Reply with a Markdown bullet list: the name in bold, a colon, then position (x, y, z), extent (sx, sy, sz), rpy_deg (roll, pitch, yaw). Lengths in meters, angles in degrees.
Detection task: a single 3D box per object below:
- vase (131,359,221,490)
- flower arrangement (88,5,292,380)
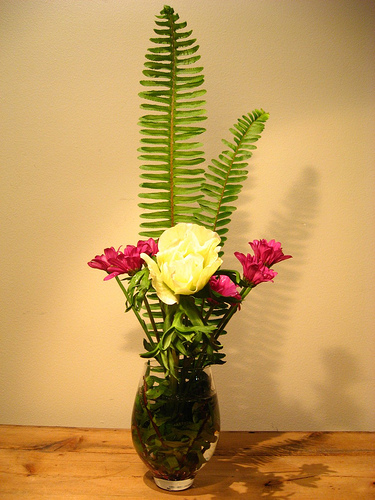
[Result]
- **vase**: position (-0.020, 0.319, 0.985), extent (0.237, 0.238, 0.215), rpy_deg (1, -8, -6)
- **flower arrangement**: position (-0.002, -0.119, 1.001), extent (0.349, 0.690, 0.455), rpy_deg (0, 8, -5)
